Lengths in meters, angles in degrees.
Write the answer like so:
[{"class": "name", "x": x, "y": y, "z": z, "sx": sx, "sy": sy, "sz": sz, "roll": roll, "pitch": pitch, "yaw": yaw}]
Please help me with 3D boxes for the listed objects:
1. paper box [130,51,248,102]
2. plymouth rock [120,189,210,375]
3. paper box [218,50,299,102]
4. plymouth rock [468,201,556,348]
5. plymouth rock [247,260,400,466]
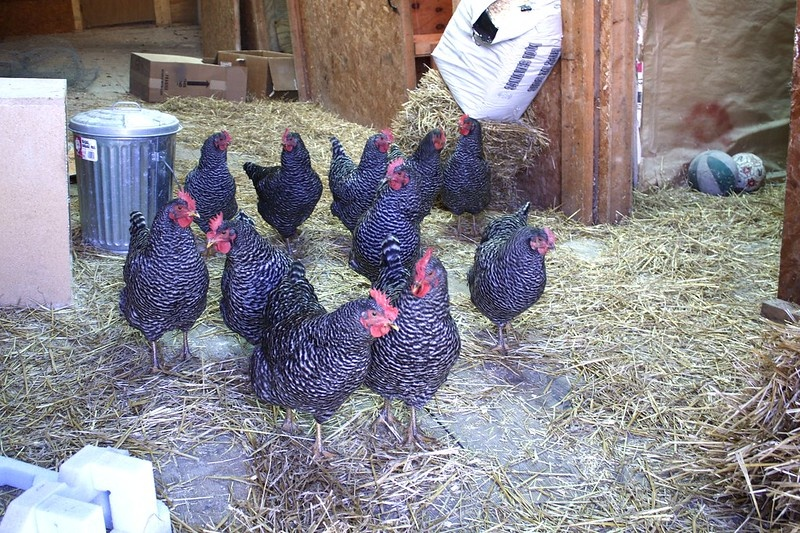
[{"class": "paper box", "x": -2.971, "y": -2.622, "z": 9.254, "sx": 1.622, "sy": 0.599, "sz": 0.701, "roll": 0, "pitch": 20, "yaw": -9}, {"class": "plymouth rock", "x": -1.538, "y": 0.105, "z": 4.218, "sx": 0.585, "sy": 1.097, "sz": 0.371, "roll": 16, "pitch": 24, "yaw": 32}, {"class": "paper box", "x": -2.053, "y": -2.877, "z": 9.717, "sx": 0.776, "sy": 0.521, "sz": 1.065, "roll": -14, "pitch": 31, "yaw": -37}, {"class": "plymouth rock", "x": 0.709, "y": 0.101, "z": 4.542, "sx": 0.477, "sy": 0.904, "sz": 0.636, "roll": 1, "pitch": 20, "yaw": -6}, {"class": "plymouth rock", "x": -0.479, "y": 0.560, "z": 3.835, "sx": 0.687, "sy": 1.035, "sz": 1.194, "roll": 1, "pitch": 14, "yaw": -38}]
